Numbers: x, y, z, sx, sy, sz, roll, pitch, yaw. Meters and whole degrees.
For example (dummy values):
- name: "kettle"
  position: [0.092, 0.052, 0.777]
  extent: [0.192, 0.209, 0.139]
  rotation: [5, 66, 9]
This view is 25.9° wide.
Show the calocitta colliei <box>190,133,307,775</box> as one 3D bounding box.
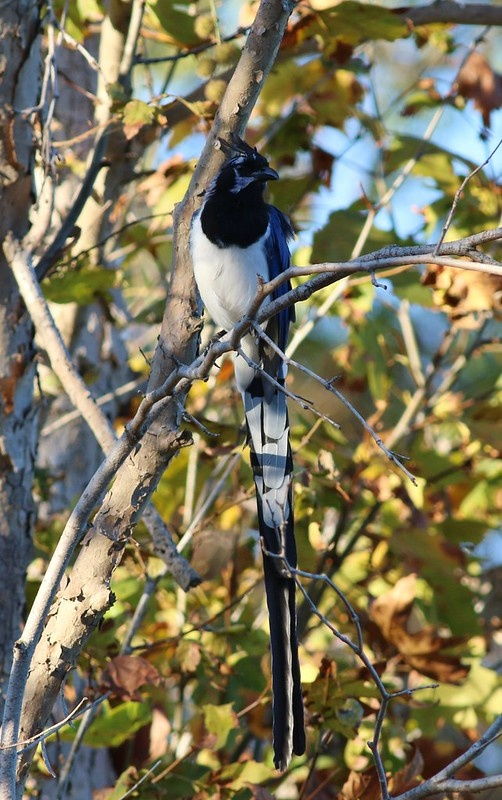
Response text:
- name: "calocitta colliei"
  position: [-0.005, -0.008, 3.373]
  extent: [0.326, 1.938, 1.244]
  rotation: [-1, -52, 6]
